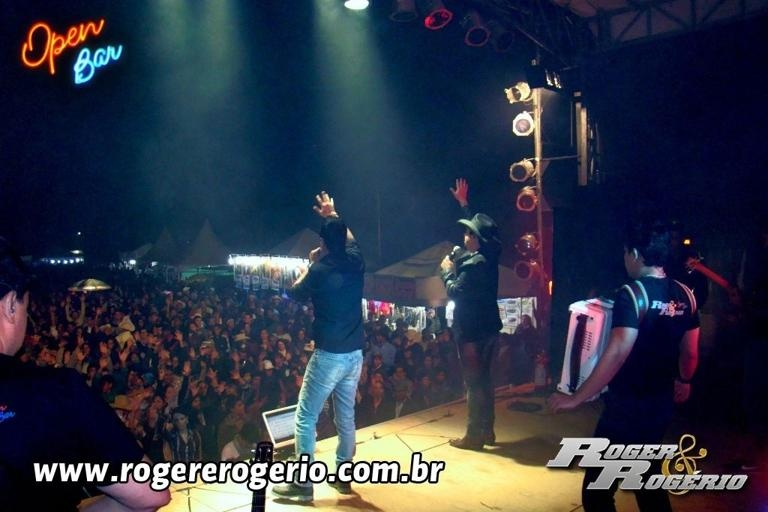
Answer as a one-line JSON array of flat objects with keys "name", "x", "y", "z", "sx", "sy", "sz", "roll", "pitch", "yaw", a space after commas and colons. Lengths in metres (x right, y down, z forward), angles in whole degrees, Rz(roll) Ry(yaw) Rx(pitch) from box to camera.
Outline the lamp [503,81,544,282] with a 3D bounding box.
[{"name": "lamp", "x": 2.378, "y": -1.271, "z": 9.208, "sx": 0.626, "sy": 3.286, "sz": 0.615, "roll": 2, "pitch": 0, "yaw": 23}]

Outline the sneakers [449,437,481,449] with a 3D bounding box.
[{"name": "sneakers", "x": 1.026, "y": 2.360, "z": 7.086, "sx": 0.394, "sy": 0.176, "sz": 0.146, "roll": 2, "pitch": -9, "yaw": 20}]

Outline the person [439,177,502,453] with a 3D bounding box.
[{"name": "person", "x": 1.139, "y": 0.695, "z": 7.154, "sx": 0.735, "sy": 3.426, "sz": 0.627, "roll": 2, "pitch": 0, "yaw": 10}]

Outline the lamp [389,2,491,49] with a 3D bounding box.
[{"name": "lamp", "x": 1.162, "y": -4.771, "z": 11.480, "sx": 0.910, "sy": 0.704, "sz": 2.564, "roll": 11, "pitch": 30, "yaw": -33}]

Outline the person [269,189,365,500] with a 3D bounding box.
[{"name": "person", "x": -0.618, "y": 0.920, "z": 6.181, "sx": 0.793, "sy": 3.140, "sz": 0.368, "roll": 2, "pitch": 0, "yaw": -10}]

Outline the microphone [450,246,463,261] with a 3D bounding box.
[{"name": "microphone", "x": 0.956, "y": -0.037, "z": 7.463, "sx": 0.187, "sy": 0.058, "sz": 0.183, "roll": -25, "pitch": 7, "yaw": -43}]

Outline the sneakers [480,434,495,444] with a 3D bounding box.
[{"name": "sneakers", "x": 1.325, "y": 2.303, "z": 7.103, "sx": 0.134, "sy": 0.142, "sz": 0.137, "roll": 3, "pitch": -7, "yaw": -11}]

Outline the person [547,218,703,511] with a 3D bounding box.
[{"name": "person", "x": 2.341, "y": 0.701, "z": 5.134, "sx": 1.320, "sy": 2.529, "sz": 0.327, "roll": 2, "pitch": 0, "yaw": -20}]
